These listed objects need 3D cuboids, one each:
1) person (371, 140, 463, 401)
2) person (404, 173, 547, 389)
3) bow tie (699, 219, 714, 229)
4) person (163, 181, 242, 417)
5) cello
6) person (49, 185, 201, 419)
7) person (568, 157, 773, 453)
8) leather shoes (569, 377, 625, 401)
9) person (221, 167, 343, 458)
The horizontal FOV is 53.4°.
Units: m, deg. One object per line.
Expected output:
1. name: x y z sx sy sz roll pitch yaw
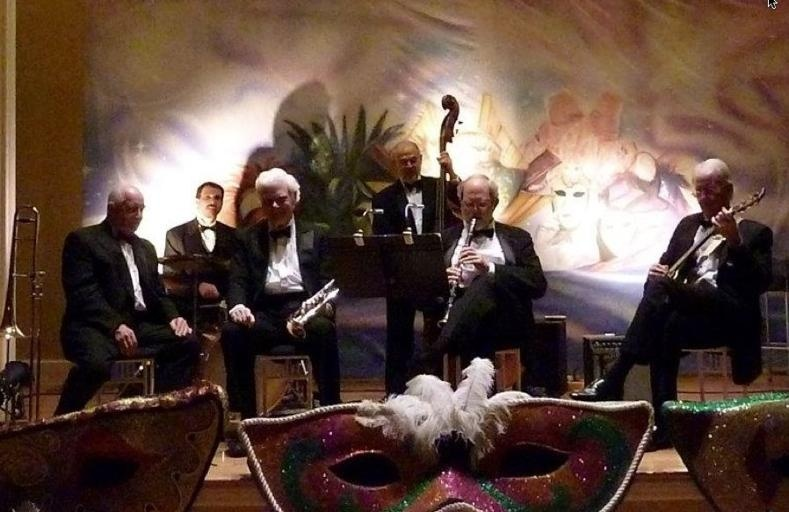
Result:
1. person: 0.165 0.145 6.828 0.762 2.241 0.604 0 5 5
2. person: 0.661 0.140 6.239 1.064 1.583 0.576 0 1 -3
3. bow tie: 2.456 -0.244 6.145 0.071 0.055 0.074 -1 4 -7
4. person: -1.868 0.655 7.715 0.721 2.758 0.681 -4 8 -29
5. cello: 0.446 -0.157 6.786 0.376 2.374 0.332 1 11 21
6. person: -2.134 0.326 6.178 0.820 2.177 0.900 0 -1 20
7. person: 2.254 0.311 5.963 1.197 2.081 0.647 -1 1 -27
8. leather shoes: 1.566 1.018 6.002 0.436 0.179 0.162 2 -11 -4
9. person: -0.879 0.268 6.128 0.881 1.892 0.566 0 1 -5
